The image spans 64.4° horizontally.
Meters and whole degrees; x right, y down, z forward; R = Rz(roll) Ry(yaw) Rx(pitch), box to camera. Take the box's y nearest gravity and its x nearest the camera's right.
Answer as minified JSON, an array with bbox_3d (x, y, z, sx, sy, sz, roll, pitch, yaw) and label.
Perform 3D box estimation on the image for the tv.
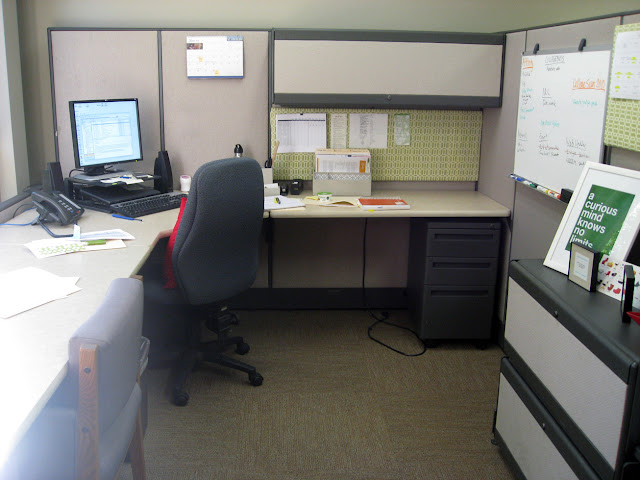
[{"bbox_3d":[-1.247,-0.595,2.940,0.180,0.446,0.440,11,17,39],"label":"tv"}]

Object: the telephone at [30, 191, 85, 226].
[{"bbox_3d":[-1.295,-0.196,2.487,0.219,0.073,0.172,37,31,2],"label":"telephone"}]

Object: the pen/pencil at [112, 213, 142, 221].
[{"bbox_3d":[-1.006,-0.121,2.659,0.110,0.016,0.016,12,37,13],"label":"pen/pencil"}]

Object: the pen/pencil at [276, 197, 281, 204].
[{"bbox_3d":[-0.244,-0.233,2.974,0.026,0.014,0.038,-27,62,-9],"label":"pen/pencil"}]

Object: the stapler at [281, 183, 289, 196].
[{"bbox_3d":[-0.224,-0.319,3.215,0.056,0.086,0.027,0,0,-6],"label":"stapler"}]

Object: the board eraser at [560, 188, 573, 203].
[{"bbox_3d":[1.119,-0.203,2.295,0.047,0.064,0.088,1,16,13],"label":"board eraser"}]
